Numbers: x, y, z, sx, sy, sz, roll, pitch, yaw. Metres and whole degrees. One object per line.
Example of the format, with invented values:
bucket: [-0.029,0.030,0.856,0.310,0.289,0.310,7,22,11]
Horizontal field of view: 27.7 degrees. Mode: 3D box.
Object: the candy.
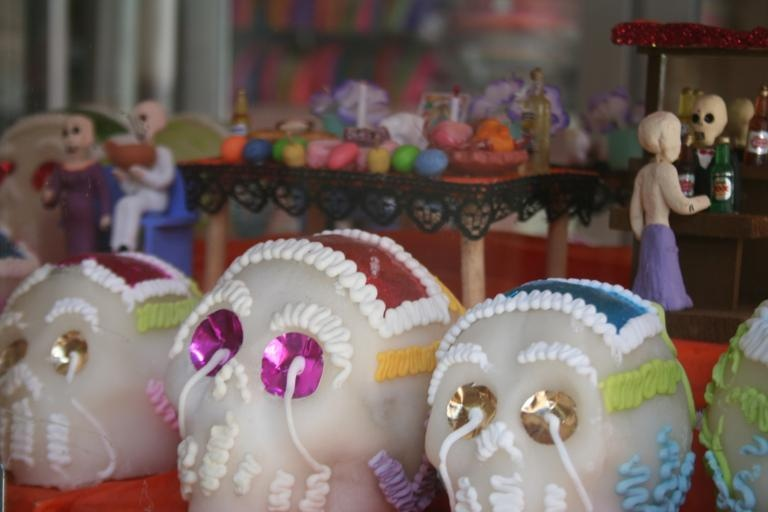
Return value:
candy: [-0.199,-0.373,5.607,0.936,0.179,0.188,0,1,38]
